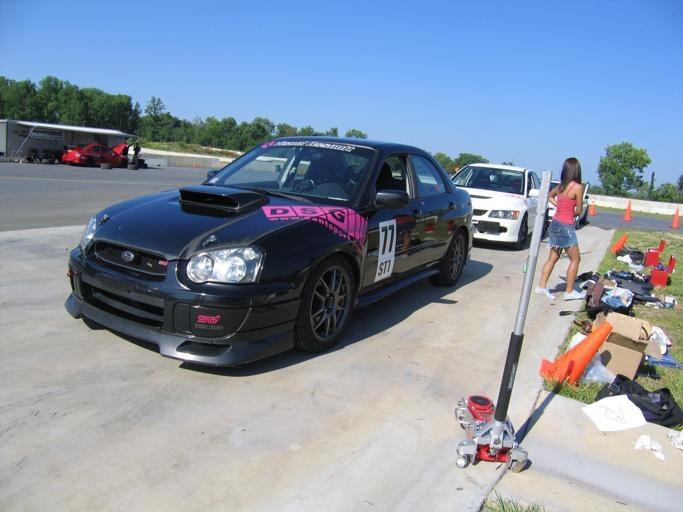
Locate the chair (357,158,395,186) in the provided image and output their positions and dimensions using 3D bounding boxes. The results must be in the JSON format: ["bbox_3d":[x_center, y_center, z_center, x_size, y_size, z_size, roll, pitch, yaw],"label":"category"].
[{"bbox_3d":[0.465,-0.960,4.901,0.380,0.299,0.335,10,-22,-10],"label":"chair"}]

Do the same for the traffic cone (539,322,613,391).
[{"bbox_3d":[2.118,0.862,3.672,0.394,0.530,0.671,18,18,39],"label":"traffic cone"}]

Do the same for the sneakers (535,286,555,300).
[{"bbox_3d":[3.272,0.567,6.316,0.379,0.139,0.139,21,12,-5],"label":"sneakers"}]

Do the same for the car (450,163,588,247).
[{"bbox_3d":[4.376,-1.551,11.304,2.939,1.700,4.526,5,8,27],"label":"car"}]

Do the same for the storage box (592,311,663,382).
[{"bbox_3d":[2.649,0.832,3.826,0.625,0.540,0.210,17,2,1],"label":"storage box"}]
